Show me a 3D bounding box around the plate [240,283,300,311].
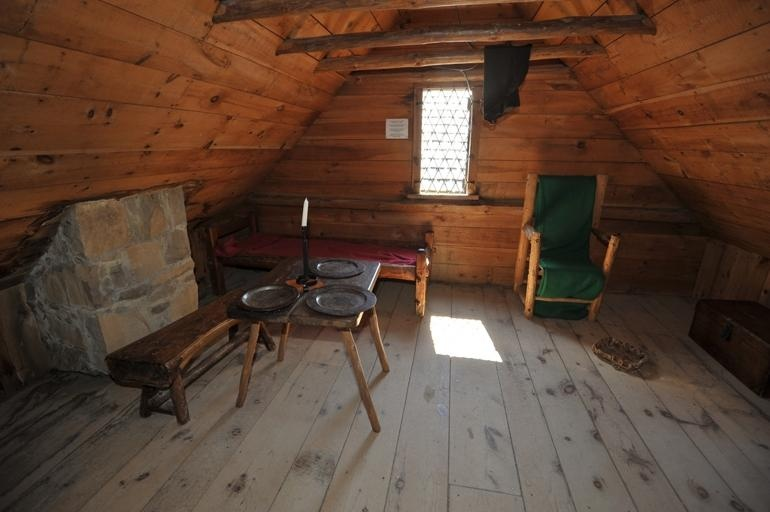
[{"bbox_3d":[-0.818,0.287,3.144,0.376,0.255,0.300,10,-16,-15],"label":"plate"}]

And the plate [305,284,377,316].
[{"bbox_3d":[-0.335,0.304,3.118,0.472,0.291,0.333,8,-16,-6],"label":"plate"}]

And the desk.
[{"bbox_3d":[-0.552,0.725,3.542,1.231,0.775,1.152,-2,10,-6],"label":"desk"}]

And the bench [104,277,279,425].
[{"bbox_3d":[-1.471,0.792,3.820,0.609,0.517,1.544,7,17,19],"label":"bench"}]

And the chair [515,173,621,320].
[{"bbox_3d":[1.750,-0.141,4.498,0.825,1.527,0.505,5,-17,8],"label":"chair"}]
